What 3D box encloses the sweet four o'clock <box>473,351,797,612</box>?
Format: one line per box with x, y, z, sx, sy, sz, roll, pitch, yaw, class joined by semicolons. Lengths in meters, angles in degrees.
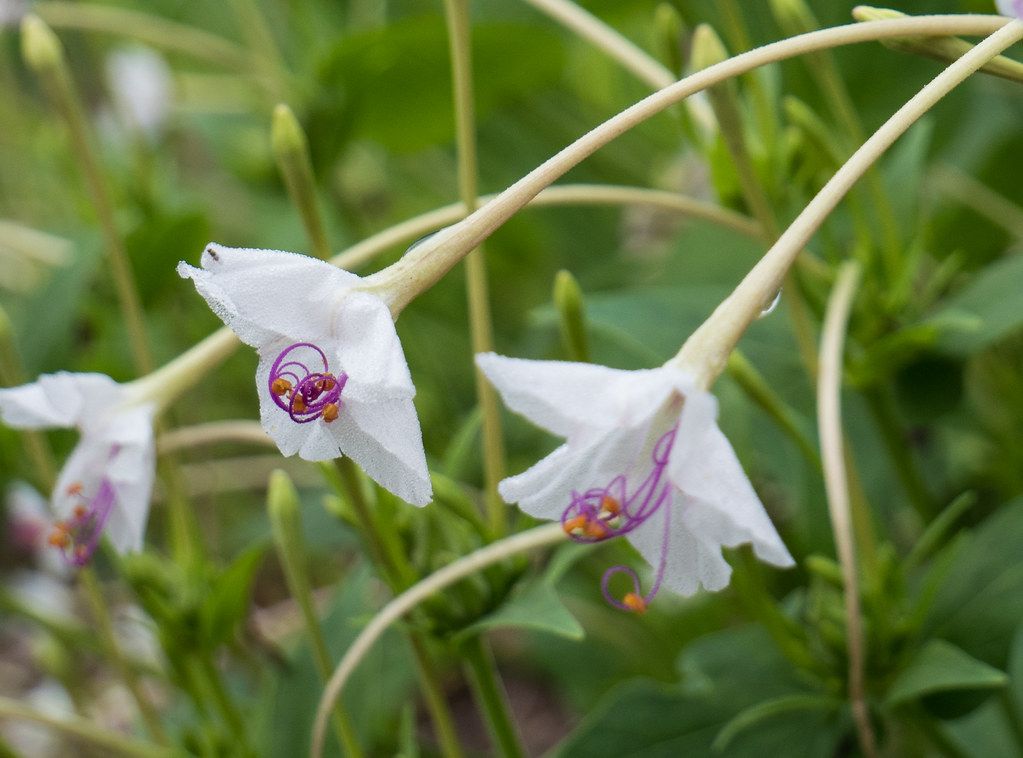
0.130;0.126;1.029;0.240;0.121;0.252;-21;20;-1;sweet four o'clock

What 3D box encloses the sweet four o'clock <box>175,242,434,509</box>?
-0.188;-0.005;1.068;0.141;0.274;0.221;-18;11;-32;sweet four o'clock
